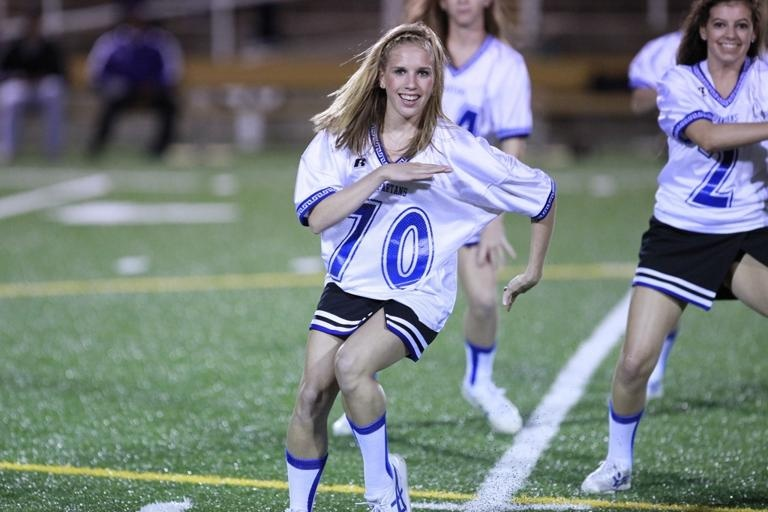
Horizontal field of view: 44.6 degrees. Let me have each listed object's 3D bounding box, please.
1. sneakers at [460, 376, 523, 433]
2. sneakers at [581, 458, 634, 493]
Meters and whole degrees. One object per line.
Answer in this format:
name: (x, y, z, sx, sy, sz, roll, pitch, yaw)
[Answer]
sneakers: (0.625, 0.842, 5.374, 0.158, 0.174, 0.428, -28, 48, -28)
sneakers: (1.122, 1.085, 4.658, 0.290, 0.138, 0.114, 0, 1, -31)
